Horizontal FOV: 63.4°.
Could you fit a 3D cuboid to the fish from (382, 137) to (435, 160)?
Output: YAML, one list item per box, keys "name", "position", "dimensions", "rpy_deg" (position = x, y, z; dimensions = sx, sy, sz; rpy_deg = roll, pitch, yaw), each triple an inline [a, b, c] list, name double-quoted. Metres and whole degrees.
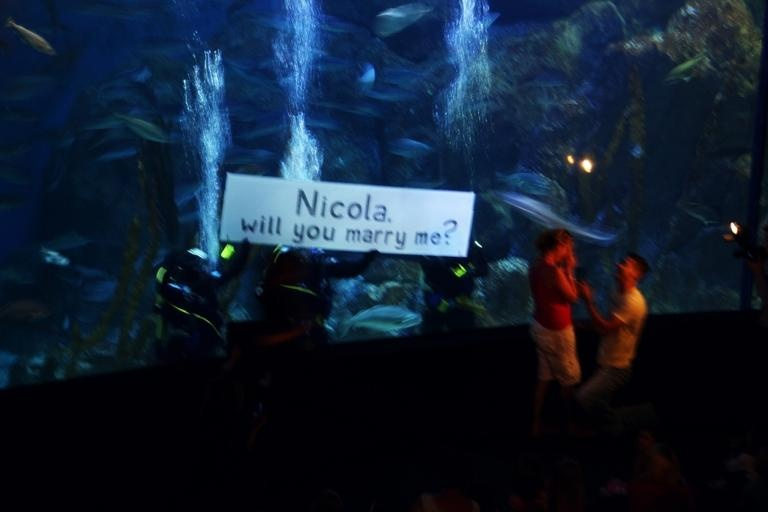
- name: "fish"
  position: [0.225, -1.040, 6.261]
  dimensions: [0.362, 0.214, 0.072]
  rpy_deg: [3, -4, 2]

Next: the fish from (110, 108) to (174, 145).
- name: "fish"
  position: [-2.259, -1.193, 5.892]
  dimensions: [0.617, 0.198, 0.105]
  rpy_deg: [28, 0, 2]
